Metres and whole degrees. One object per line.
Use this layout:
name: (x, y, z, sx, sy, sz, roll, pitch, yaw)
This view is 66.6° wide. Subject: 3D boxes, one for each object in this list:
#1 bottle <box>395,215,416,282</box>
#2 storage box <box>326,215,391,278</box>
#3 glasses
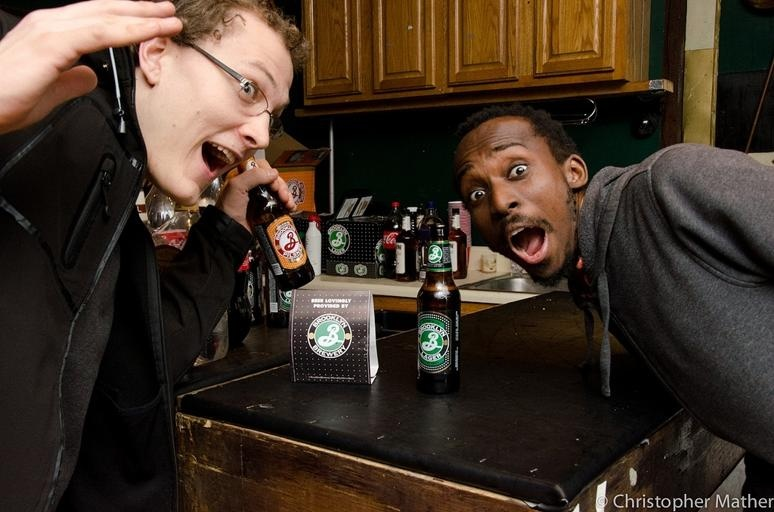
bottle: (0.109, -0.053, 3.400, 0.123, 0.362, 0.198, -2, 9, 1)
storage box: (-0.172, -0.075, 3.666, 0.368, 0.314, 0.354, 0, 3, 7)
glasses: (-0.343, -0.377, 1.311, 0.173, 0.052, 0.167, 43, -6, 26)
